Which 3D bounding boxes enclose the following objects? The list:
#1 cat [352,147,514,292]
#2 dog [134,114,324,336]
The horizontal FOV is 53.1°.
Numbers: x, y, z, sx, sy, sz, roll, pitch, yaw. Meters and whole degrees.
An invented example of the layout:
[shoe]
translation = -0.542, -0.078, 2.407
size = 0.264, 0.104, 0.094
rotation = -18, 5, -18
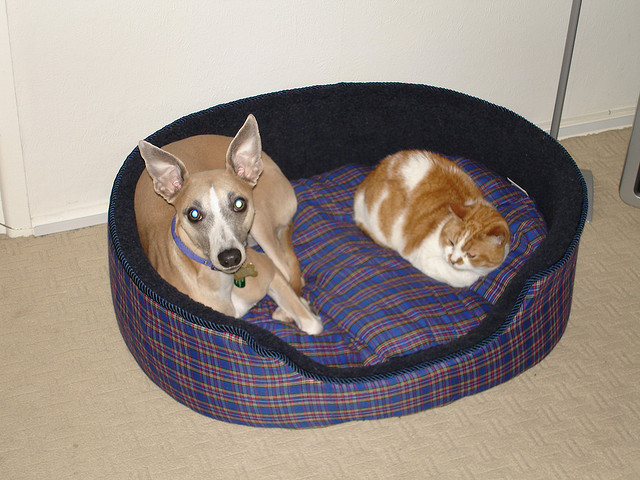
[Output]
[cat]
translation = 0.542, -0.135, 3.080
size = 0.570, 0.435, 0.802
rotation = -28, 58, -26
[dog]
translation = -0.375, -0.057, 2.641
size = 0.723, 1.020, 0.739
rotation = -14, 39, -17
